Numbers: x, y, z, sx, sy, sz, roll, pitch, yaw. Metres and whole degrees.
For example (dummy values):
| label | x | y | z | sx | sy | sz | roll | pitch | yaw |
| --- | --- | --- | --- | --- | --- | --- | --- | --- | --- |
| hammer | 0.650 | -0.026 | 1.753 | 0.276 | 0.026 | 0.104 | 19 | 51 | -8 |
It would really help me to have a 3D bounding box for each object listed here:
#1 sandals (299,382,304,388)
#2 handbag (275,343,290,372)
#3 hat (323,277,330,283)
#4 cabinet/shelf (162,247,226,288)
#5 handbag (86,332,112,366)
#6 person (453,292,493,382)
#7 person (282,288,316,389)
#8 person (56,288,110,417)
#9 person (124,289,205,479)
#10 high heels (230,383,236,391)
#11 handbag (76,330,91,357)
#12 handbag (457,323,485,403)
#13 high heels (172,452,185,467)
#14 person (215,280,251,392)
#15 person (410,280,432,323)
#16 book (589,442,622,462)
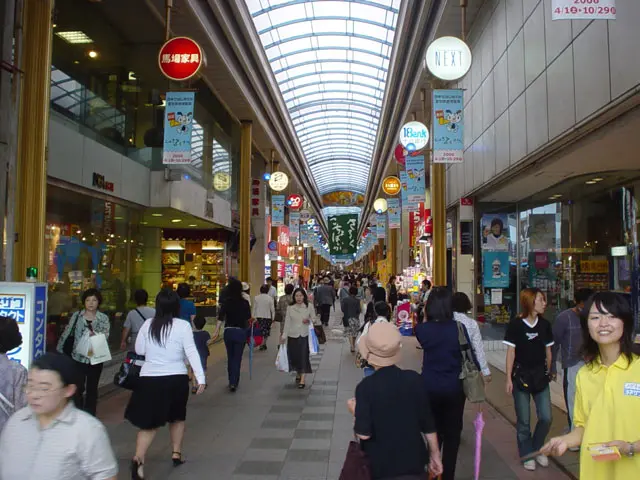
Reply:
| label | x | y | z | sx | sy | sz | roll | pitch | yaw |
| --- | --- | --- | --- | --- | --- | --- | --- | --- | --- |
| sandals | -0.332 | 2.658 | 9.196 | 0.121 | 0.089 | 0.183 | 0 | -2 | -6 |
| handbag | -0.671 | 2.158 | 9.211 | 0.237 | 0.569 | 0.356 | 0 | -2 | -10 |
| hat | 0.263 | 1.550 | 19.136 | 0.176 | 0.239 | 0.166 | 12 | 16 | -26 |
| cabinet/shelf | -4.890 | 1.021 | 20.414 | 2.492 | 1.565 | 1.861 | 2 | 1 | 0 |
| handbag | -2.765 | 1.344 | 6.318 | 0.232 | 0.364 | 0.122 | -7 | 18 | -5 |
| person | 1.659 | 1.077 | 5.409 | 0.213 | 0.945 | 0.698 | -6 | -5 | 2 |
| person | -0.384 | 1.804 | 9.337 | 0.577 | 1.808 | 0.586 | 0 | -2 | -1 |
| person | -3.084 | 1.449 | 6.524 | 0.653 | 1.666 | 0.539 | 8 | 16 | -8 |
| person | -1.702 | 1.580 | 5.528 | 0.816 | 2.042 | 0.612 | 0 | -2 | -9 |
| high heels | -1.525 | 2.611 | 8.899 | 0.125 | 0.127 | 0.129 | 0 | -2 | -15 |
| handbag | -2.954 | 1.306 | 6.280 | 0.078 | 0.214 | 0.205 | 19 | -35 | -24 |
| handbag | 1.562 | 1.256 | 5.188 | 0.248 | 0.783 | 0.309 | -1 | -2 | 14 |
| high heels | -1.651 | 2.542 | 5.829 | 0.070 | 0.119 | 0.228 | 1 | -7 | 5 |
| person | -1.543 | 1.707 | 9.186 | 0.576 | 1.964 | 0.694 | 0 | -2 | -13 |
| person | 2.930 | 1.883 | 14.257 | 0.513 | 1.641 | 0.557 | 0 | 23 | 5 |
| book | 1.834 | 1.357 | 3.214 | 0.132 | 0.056 | 0.115 | -2 | -2 | 9 |
